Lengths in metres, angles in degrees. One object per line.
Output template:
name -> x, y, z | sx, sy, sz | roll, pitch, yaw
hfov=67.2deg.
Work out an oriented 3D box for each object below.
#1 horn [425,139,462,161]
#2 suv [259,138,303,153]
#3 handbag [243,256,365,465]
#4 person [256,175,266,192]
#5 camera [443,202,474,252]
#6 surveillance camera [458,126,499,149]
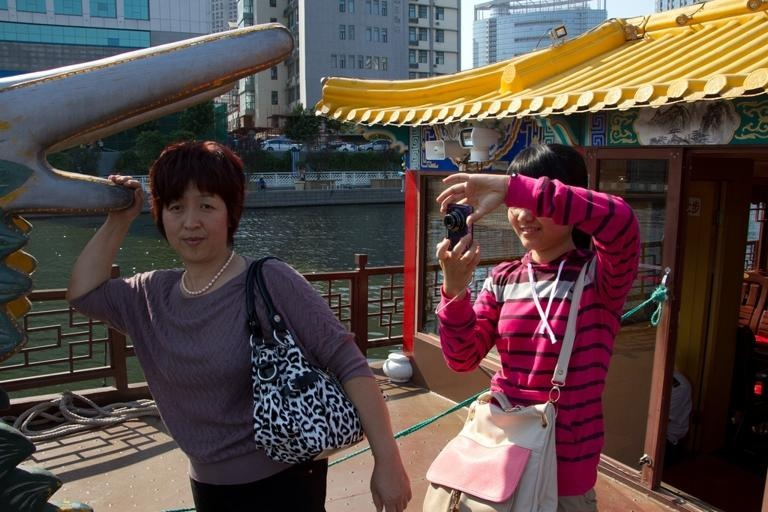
horn -> 0.594, -1.070, 5.745 | 0.189, 0.149, 0.332 | -4, -3, 41
suv -> -8.899, -9.304, 50.094 | 3.598, 1.301, 1.730 | -4, 13, -8
handbag -> -0.394, 0.427, 2.395 | 0.480, 0.799, 0.350 | 6, 13, 40
person -> -8.806, -5.238, 41.436 | 0.918, 1.098, 2.330 | -2, 13, -13
camera -> 0.331, -0.127, 2.554 | 0.119, 0.216, 0.113 | 10, 18, 38
surveillance camera -> 0.919, -1.107, 5.394 | 0.245, 0.136, 0.216 | -2, 7, -21
